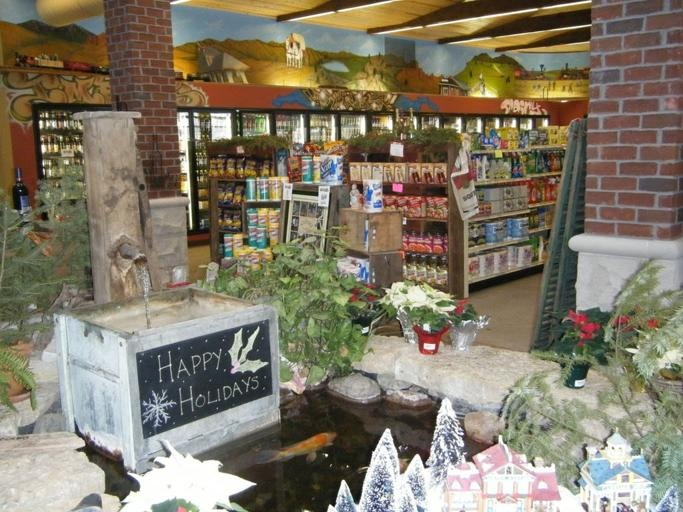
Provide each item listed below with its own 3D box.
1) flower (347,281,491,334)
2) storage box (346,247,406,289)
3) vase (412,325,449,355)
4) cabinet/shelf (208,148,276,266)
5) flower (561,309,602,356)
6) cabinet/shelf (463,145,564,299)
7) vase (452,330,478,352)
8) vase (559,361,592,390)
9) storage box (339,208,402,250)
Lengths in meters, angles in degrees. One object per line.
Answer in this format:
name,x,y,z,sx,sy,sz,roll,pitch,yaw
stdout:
flower,0.486,0.278,2.920,0.514,0.179,0.491,-7,15,-42
storage box,0.212,0.118,4.697,0.608,0.353,0.460,10,-4,44
vase,0.488,0.447,2.840,0.166,0.180,0.234,1,12,9
cabinet/shelf,-1.508,-0.760,7.178,0.666,1.677,1.316,-13,17,-40
flower,1.139,0.362,2.495,0.213,0.184,0.208,8,19,38
cabinet/shelf,2.271,-0.449,6.964,0.788,1.253,2.429,13,19,40
vase,0.677,0.461,2.820,0.135,0.113,0.104,0,13,5
vase,1.089,0.531,2.375,0.118,0.152,0.217,4,13,23
storage box,0.266,-0.243,4.534,0.450,0.288,0.446,-4,7,-39
